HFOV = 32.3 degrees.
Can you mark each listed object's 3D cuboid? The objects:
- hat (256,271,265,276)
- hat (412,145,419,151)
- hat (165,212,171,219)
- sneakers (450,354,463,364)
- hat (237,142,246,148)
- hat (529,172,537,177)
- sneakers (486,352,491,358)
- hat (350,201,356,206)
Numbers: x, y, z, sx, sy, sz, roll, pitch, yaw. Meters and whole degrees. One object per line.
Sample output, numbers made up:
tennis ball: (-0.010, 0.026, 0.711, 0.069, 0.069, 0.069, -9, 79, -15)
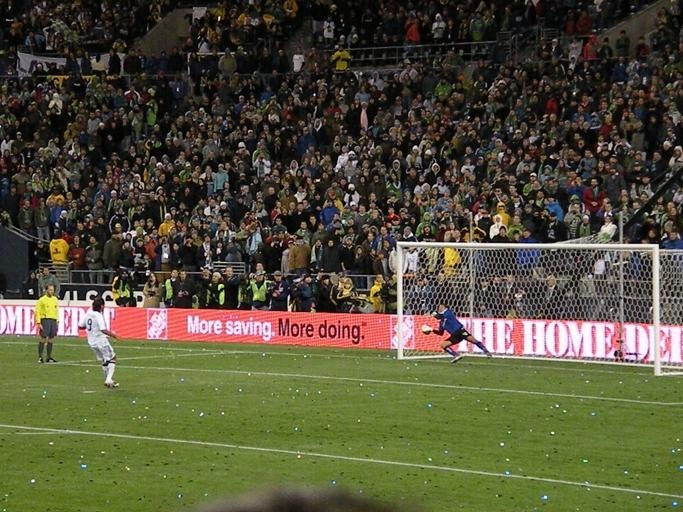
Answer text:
hat: (-2.307, 0.468, 33.980, 0.220, 0.157, 0.310, -1, 7, -7)
hat: (2.294, -3.334, 35.976, 0.137, 0.196, 0.146, -5, 8, 6)
hat: (-5.374, -1.292, 36.882, 0.140, 0.163, 0.164, 1, -9, -10)
sneakers: (2.857, 2.597, 29.451, 0.123, 0.161, 0.343, 11, -28, -20)
hat: (-3.231, -3.690, 38.829, 0.186, 0.281, 0.256, 3, 4, -15)
hat: (5.385, -2.285, 32.732, 0.174, 0.136, 0.292, 2, 7, 20)
sneakers: (3.712, 2.488, 29.593, 0.133, 0.108, 0.179, 4, 4, 14)
hat: (0.390, -1.567, 34.613, 0.110, 0.168, 0.124, 0, 7, -4)
